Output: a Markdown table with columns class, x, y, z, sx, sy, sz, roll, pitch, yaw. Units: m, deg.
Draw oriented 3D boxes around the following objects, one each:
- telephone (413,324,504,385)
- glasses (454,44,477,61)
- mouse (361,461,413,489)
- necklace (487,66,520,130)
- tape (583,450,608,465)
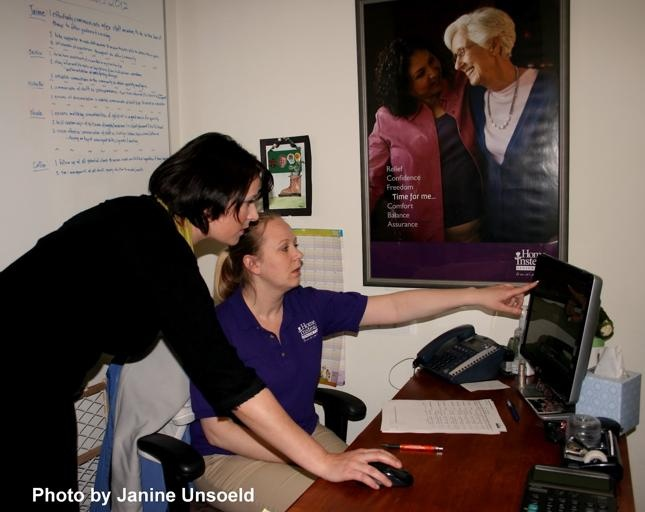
| class | x | y | z | sx | sy | sz | roll | pitch | yaw |
| --- | --- | --- | --- | --- | --- | --- | --- | --- | --- |
| telephone | 0.573 | 0.416 | 2.093 | 0.280 | 0.199 | 0.308 | -3 | 2 | -18 |
| glasses | 0.614 | -0.890 | 2.184 | 0.045 | 0.022 | 0.061 | -37 | -15 | -14 |
| mouse | 0.200 | 0.596 | 1.366 | 0.085 | 0.032 | 0.061 | -1 | 7 | -3 |
| necklace | 0.773 | -0.674 | 2.149 | 0.122 | 0.244 | 0.046 | 6 | 10 | 42 |
| tape | 0.761 | 0.558 | 1.393 | 0.066 | 0.029 | 0.023 | -3 | 9 | 10 |
